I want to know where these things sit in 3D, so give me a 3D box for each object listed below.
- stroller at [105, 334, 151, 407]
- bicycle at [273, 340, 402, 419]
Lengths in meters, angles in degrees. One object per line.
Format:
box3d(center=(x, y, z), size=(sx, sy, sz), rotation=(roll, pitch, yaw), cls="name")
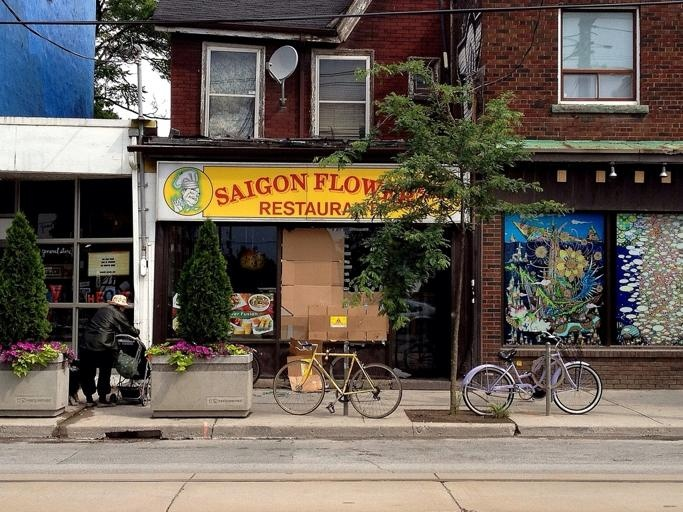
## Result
box3d(center=(-4.136, 2.310, 22.699), size=(0.856, 1.301, 1.051), rotation=(-6, -10, 28), cls="stroller")
box3d(center=(-0.070, 2.455, 22.141), size=(2.404, 1.394, 1.322), rotation=(2, 13, 6), cls="bicycle")
